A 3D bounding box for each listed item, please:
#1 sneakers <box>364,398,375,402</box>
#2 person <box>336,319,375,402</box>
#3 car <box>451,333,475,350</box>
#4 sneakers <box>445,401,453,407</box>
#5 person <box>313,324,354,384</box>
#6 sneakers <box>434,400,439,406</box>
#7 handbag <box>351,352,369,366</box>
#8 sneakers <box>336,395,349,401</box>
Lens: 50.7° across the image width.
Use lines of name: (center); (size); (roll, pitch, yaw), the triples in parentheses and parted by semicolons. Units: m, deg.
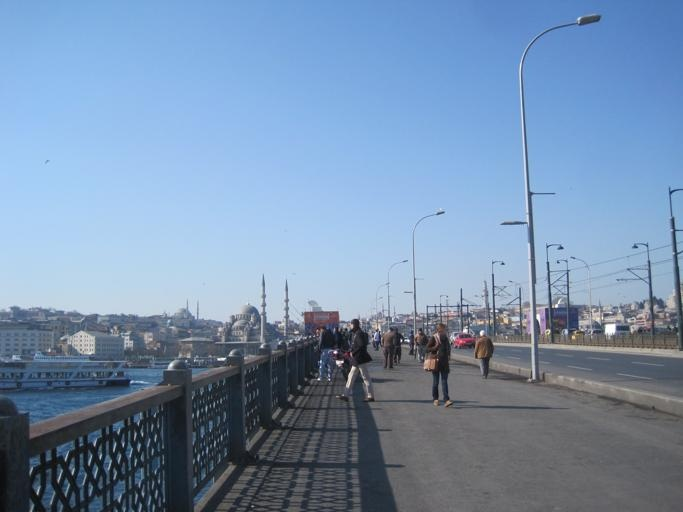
sneakers: (0.635, 3.306, 16.725); (0.223, 0.098, 0.079); (0, -3, 37)
person: (0.358, 2.451, 16.974); (0.800, 1.881, 0.611); (-1, -5, 4)
car: (11.311, 7.827, 66.761); (1.229, 1.017, 2.863); (0, -1, 1)
sneakers: (2.296, 3.175, 15.541); (0.074, 0.096, 0.207); (-27, -10, -24)
person: (-0.260, 3.203, 23.935); (1.120, 1.289, 1.899); (-2, -11, 3)
sneakers: (2.097, 3.237, 15.965); (0.071, 0.139, 0.132); (0, -9, 5)
handbag: (0.438, 2.384, 16.732); (0.253, 0.261, 0.323); (0, -14, 1)
sneakers: (0.050, 3.274, 16.763); (0.268, 0.160, 0.533); (7, -6, 1)
